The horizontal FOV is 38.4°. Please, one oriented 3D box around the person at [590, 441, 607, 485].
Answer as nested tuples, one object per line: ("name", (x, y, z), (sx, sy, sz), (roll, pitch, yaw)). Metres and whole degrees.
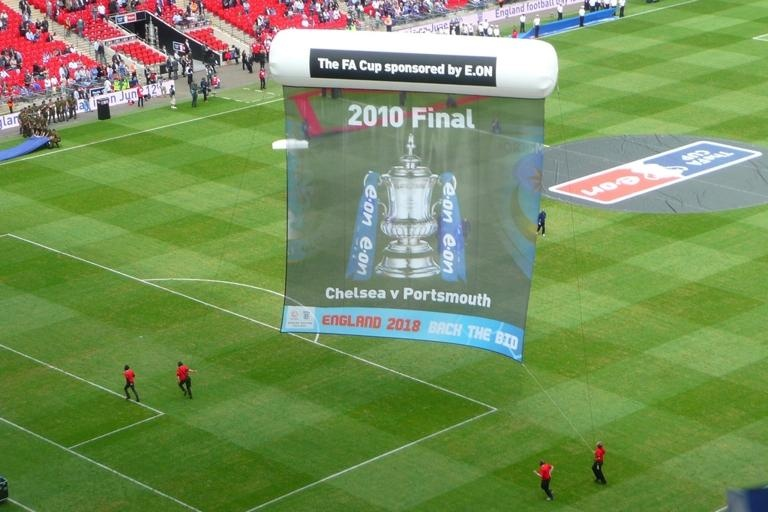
("person", (7.693, 7.317, 39.737), (0.488, 1.472, 1.259), (-2, 28, 10))
